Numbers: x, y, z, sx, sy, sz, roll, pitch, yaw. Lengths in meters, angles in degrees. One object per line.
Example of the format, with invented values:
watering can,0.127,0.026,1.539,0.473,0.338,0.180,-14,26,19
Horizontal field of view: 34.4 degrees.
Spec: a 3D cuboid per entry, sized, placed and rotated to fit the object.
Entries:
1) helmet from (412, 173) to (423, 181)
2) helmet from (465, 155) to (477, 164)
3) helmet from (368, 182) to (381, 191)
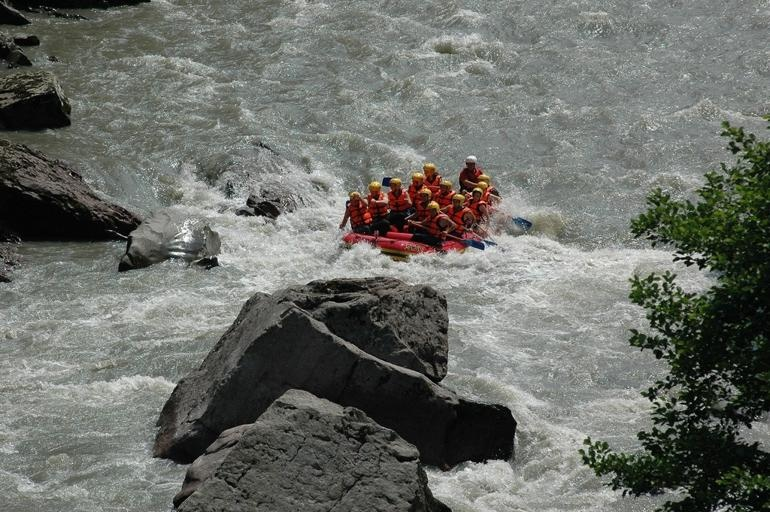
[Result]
helmet,0.965,-2.288,36.257,0.315,0.220,0.231,10,1,-25
helmet,2.535,-2.837,37.334,0.297,0.272,0.371,9,21,14
helmet,-0.289,-1.995,36.030,0.376,0.253,0.270,-15,47,-10
